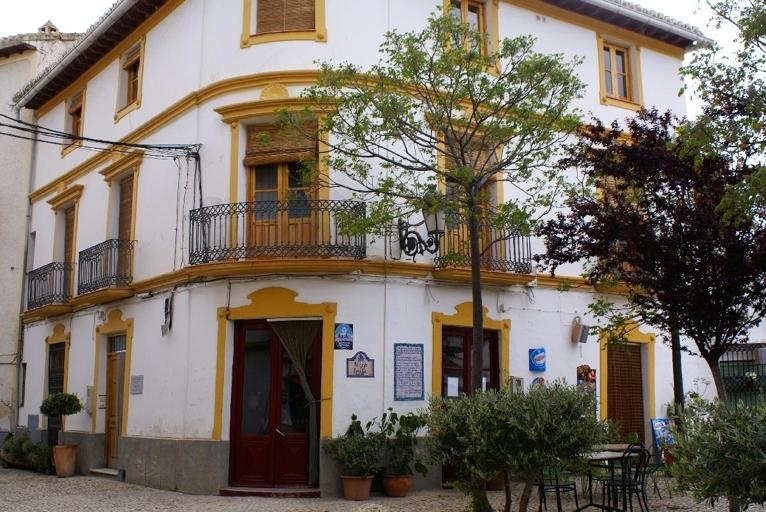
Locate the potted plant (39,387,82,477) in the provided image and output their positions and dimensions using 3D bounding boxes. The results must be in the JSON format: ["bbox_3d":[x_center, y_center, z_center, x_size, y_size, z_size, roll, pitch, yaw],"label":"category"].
[{"bbox_3d":[-8.118,4.600,22.963,1.073,2.009,0.944,-2,-9,-30],"label":"potted plant"}]

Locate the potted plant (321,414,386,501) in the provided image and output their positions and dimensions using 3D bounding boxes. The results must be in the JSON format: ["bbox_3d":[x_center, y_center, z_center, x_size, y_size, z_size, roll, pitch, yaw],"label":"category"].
[{"bbox_3d":[-0.580,4.493,19.401,1.543,1.964,1.348,7,-18,-22],"label":"potted plant"}]

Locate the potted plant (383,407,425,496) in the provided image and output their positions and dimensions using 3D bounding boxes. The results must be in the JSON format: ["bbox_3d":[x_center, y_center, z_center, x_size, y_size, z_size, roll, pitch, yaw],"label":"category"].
[{"bbox_3d":[0.398,4.545,19.564,0.972,1.706,1.122,-3,-25,8],"label":"potted plant"}]

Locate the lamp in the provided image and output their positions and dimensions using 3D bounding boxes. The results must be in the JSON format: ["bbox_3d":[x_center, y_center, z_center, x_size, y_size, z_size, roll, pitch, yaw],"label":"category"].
[{"bbox_3d":[0.840,-0.650,19.427,1.045,1.000,2.510,-1,-16,2],"label":"lamp"}]
